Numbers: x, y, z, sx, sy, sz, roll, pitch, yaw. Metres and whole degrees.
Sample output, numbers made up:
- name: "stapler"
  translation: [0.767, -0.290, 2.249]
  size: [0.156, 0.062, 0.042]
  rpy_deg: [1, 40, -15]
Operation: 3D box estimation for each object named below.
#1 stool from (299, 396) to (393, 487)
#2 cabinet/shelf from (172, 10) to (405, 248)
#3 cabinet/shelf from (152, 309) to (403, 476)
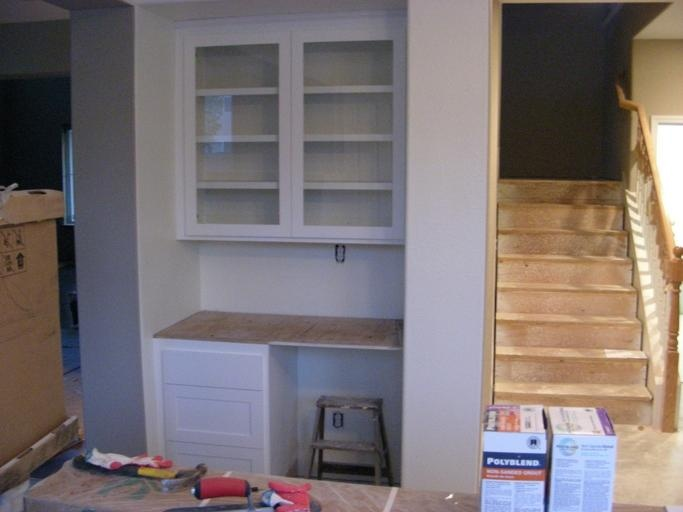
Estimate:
- name: "stool"
  translation: [0.050, 1.209, 3.781]
  size: [0.499, 0.612, 0.375]
  rpy_deg: [-1, -2, 12]
- name: "cabinet/shelf"
  translation: [-0.272, -0.811, 3.600]
  size: [1.429, 1.212, 0.444]
  rpy_deg: [0, 1, 10]
- name: "cabinet/shelf"
  translation: [-0.339, 0.959, 3.858]
  size: [1.524, 0.940, 0.890]
  rpy_deg: [0, 3, -3]
